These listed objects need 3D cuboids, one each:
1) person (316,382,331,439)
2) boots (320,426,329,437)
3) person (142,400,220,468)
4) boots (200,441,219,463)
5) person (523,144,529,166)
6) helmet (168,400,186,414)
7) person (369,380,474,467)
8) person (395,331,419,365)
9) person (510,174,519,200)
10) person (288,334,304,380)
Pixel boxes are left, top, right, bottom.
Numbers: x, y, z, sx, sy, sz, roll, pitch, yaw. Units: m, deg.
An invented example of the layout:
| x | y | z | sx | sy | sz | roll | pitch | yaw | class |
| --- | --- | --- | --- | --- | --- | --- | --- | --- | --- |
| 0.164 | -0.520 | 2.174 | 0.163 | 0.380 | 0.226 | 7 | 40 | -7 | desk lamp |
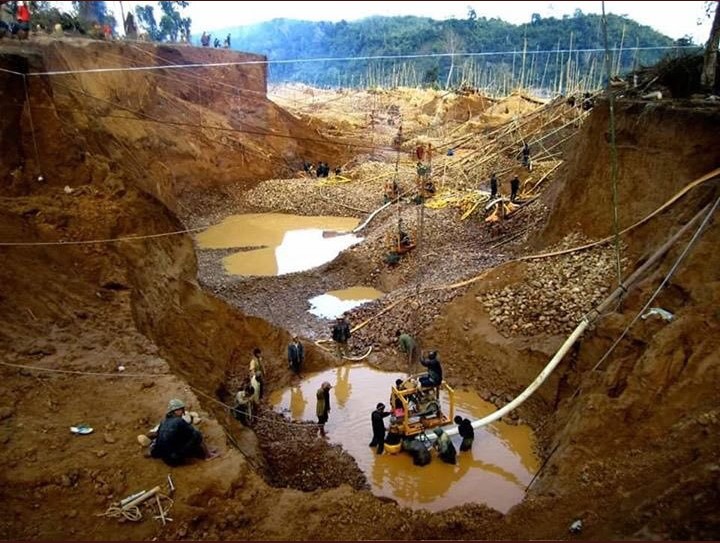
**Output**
| x | y | z | sx | sy | sz | roll | pitch | yaw | class |
| --- | --- | --- | --- | --- | --- | --- | --- | --- | --- |
| -0.791 | 2.885 | 12.214 | 0.285 | 1.130 | 0.616 | -4 | 18 | -7 | person |
| -0.759 | 3.437 | 12.270 | 0.180 | 0.239 | 0.145 | -11 | 17 | -42 | boots |
| -2.996 | 2.687 | 9.606 | 1.094 | 1.049 | 0.904 | 3 | 6 | 15 | person |
| -2.551 | 3.011 | 9.632 | 0.331 | 0.377 | 0.262 | -15 | 57 | -3 | boots |
| 7.080 | -4.926 | 24.305 | 0.269 | 0.927 | 1.107 | 2 | 18 | 12 | person |
| -3.098 | 2.244 | 9.578 | 0.246 | 0.155 | 0.210 | -12 | 9 | -3 | helmet |
| 1.222 | 3.002 | 11.602 | 1.557 | 1.332 | 1.189 | 0 | 18 | 6 | person |
| 1.220 | 1.887 | 14.646 | 0.555 | 0.710 | 0.990 | -1 | 18 | 3 | person |
| 5.347 | -2.867 | 19.676 | 0.206 | 0.870 | 1.753 | 4 | 19 | 17 | person |
| -1.581 | 2.087 | 14.126 | 0.386 | 0.884 | 0.517 | -3 | 18 | -4 | person |
